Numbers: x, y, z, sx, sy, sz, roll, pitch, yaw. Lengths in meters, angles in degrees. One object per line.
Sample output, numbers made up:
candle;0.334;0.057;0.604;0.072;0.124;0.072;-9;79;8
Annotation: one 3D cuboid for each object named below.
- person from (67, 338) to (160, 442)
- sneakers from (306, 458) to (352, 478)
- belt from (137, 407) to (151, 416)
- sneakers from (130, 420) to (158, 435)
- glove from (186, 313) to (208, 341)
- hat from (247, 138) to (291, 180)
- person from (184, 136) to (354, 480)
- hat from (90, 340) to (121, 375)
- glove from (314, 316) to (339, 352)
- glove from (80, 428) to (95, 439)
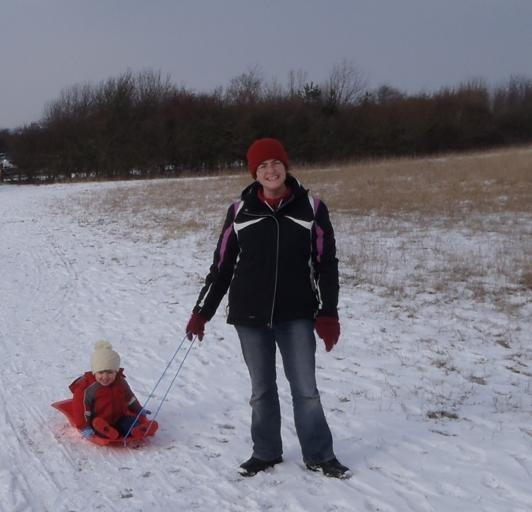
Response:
person;-1.479;1.251;5.970;0.606;0.982;0.635;11;18;42
sneakers;0.527;1.721;5.334;0.325;0.189;0.159;0;0;15
belt;-1.208;1.532;6.290;0.075;0.075;0.213;-11;-4;-7
sneakers;-1.134;1.604;5.967;0.200;0.141;0.057;5;-43;-22
glove;-0.601;0.584;5.356;0.124;0.266;0.075;10;-4;-18
hat;0.012;-0.762;5.241;0.252;0.320;0.310;-20;-10;-8
person;0.099;0.476;5.238;1.208;2.824;0.529;2;10;10
hat;-1.498;0.980;6.002;0.217;0.309;0.336;2;-19;-8
glove;0.479;0.610;5.020;0.183;0.287;0.186;1;11;5
glove;-1.625;1.614;5.818;0.084;0.106;0.096;-3;-11;-12
